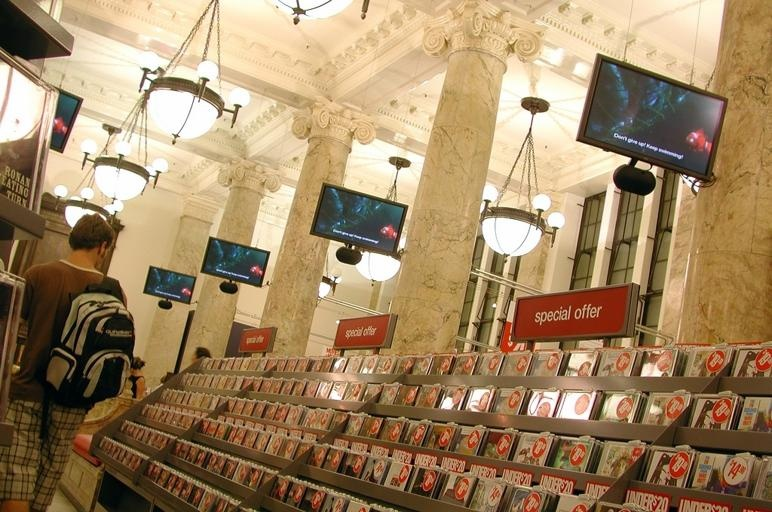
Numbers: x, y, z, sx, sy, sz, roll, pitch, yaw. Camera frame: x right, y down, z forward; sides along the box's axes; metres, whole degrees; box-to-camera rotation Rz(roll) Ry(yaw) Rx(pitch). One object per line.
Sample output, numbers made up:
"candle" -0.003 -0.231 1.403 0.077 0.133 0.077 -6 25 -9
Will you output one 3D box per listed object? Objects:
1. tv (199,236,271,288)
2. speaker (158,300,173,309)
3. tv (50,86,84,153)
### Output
"tv" -4.128 0.174 14.588 1.815 1.252 0.183 11 -14 -12
"speaker" -6.851 1.516 17.030 0.344 0.236 0.346 2 4 -6
"tv" -4.802 -1.978 8.148 0.300 1.083 1.052 17 -14 -33
